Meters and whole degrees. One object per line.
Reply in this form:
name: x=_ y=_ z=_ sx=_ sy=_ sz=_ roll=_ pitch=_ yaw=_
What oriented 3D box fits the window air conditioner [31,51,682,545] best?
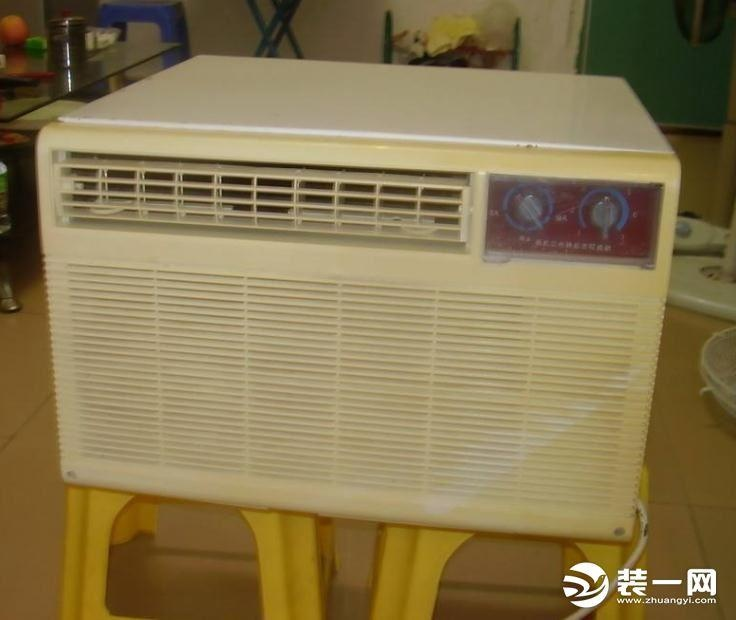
window air conditioner: x=0.012 y=-0.097 z=1.222 sx=0.877 sy=0.525 sz=0.607 roll=3 pitch=25 yaw=8

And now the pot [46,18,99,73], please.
pot: x=-0.900 y=-0.802 z=2.581 sx=0.110 sy=0.156 sz=0.181 roll=-1 pitch=23 yaw=-15
